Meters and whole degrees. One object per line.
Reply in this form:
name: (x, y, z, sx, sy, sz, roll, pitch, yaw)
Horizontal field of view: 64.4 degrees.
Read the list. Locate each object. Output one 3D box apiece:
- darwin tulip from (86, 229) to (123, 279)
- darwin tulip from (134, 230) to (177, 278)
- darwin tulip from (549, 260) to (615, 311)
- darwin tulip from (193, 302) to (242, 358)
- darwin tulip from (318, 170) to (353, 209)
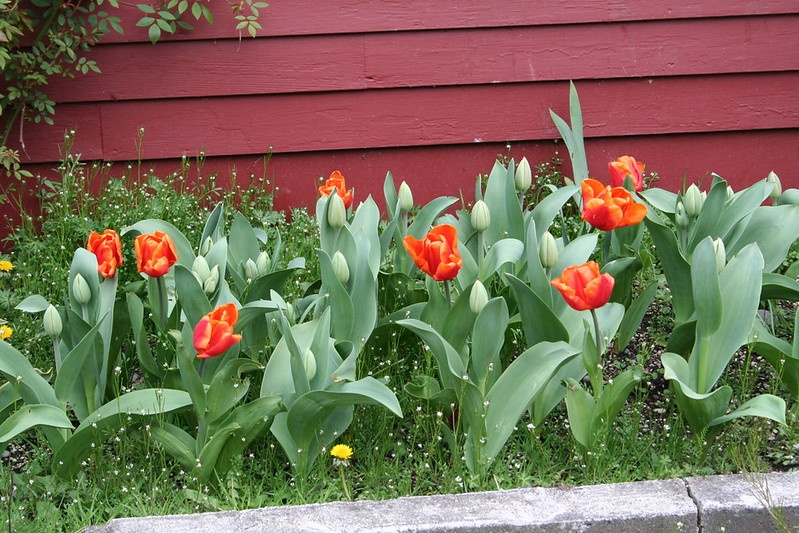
darwin tulip: (-1.088, -0.041, 2.363, 0.113, 0.196, 0.148, -14, 22, -26)
darwin tulip: (-0.901, -0.032, 2.320, 0.120, 0.146, 0.119, -10, 13, 30)
darwin tulip: (0.638, 0.072, 2.231, 0.196, 0.210, 0.147, 0, 20, 13)
darwin tulip: (-0.594, 0.234, 2.156, 0.117, 0.207, 0.145, 15, -9, 1)
darwin tulip: (-0.308, -0.364, 2.817, 0.145, 0.113, 0.172, 7, 6, -16)
